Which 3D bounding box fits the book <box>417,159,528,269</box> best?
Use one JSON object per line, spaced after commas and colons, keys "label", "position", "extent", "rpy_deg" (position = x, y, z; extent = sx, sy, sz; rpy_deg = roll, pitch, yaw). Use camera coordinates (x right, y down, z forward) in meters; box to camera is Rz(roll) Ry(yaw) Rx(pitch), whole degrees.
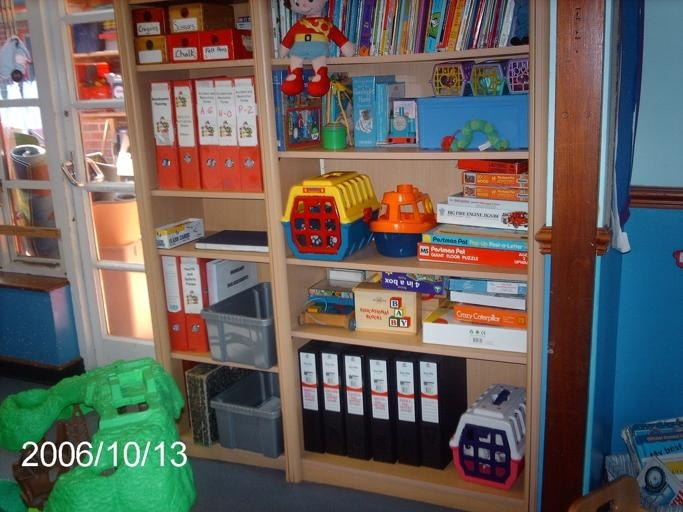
{"label": "book", "position": [0.553, -0.150, 2.162], "extent": [0.427, 0.420, 0.306], "rpy_deg": [3, -5, 21]}

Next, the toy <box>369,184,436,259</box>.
{"label": "toy", "position": [0.274, -0.166, 2.439], "extent": [0.259, 0.291, 0.351], "rpy_deg": [3, 12, 19]}

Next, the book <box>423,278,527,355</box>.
{"label": "book", "position": [0.599, 0.208, 2.255], "extent": [0.323, 0.194, 0.324], "rpy_deg": [1, 6, 25]}

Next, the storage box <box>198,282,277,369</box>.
{"label": "storage box", "position": [-0.439, 0.339, 2.725], "extent": [0.389, 0.258, 0.464], "rpy_deg": [2, 15, 6]}

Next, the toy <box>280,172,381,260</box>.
{"label": "toy", "position": [-0.031, -0.196, 2.489], "extent": [0.346, 0.328, 0.436], "rpy_deg": [2, 15, 21]}

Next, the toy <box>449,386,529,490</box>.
{"label": "toy", "position": [0.665, 0.777, 2.477], "extent": [0.304, 0.293, 0.453], "rpy_deg": [3, 10, 25]}

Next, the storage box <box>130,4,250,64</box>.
{"label": "storage box", "position": [-0.646, -1.004, 2.450], "extent": [0.536, 0.261, 0.250], "rpy_deg": [4, 18, 19]}
